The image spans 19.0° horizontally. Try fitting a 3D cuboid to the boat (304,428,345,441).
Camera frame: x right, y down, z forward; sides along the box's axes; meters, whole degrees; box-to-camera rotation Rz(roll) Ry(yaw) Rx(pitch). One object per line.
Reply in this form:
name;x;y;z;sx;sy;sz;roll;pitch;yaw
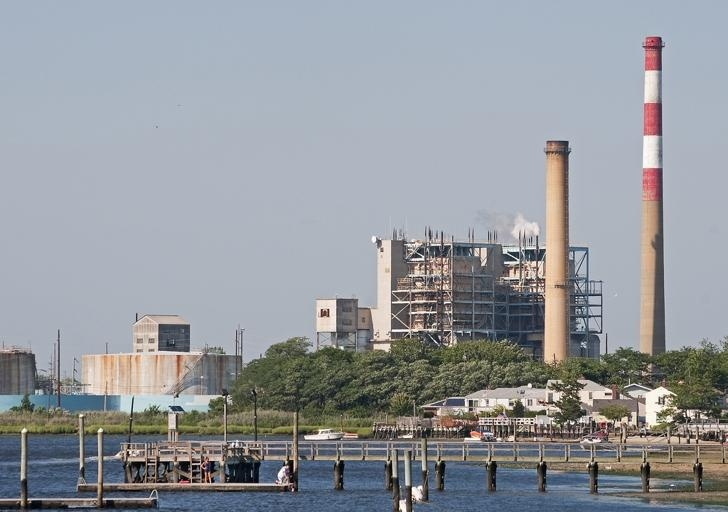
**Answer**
boat;-4.840;25.659;299.748;5.714;1.653;2.018;-5;4;26
